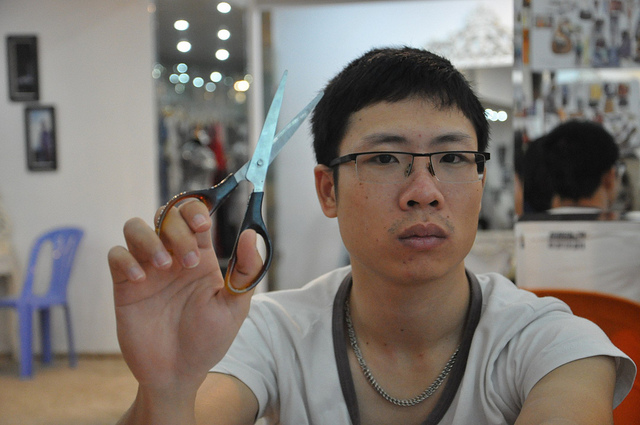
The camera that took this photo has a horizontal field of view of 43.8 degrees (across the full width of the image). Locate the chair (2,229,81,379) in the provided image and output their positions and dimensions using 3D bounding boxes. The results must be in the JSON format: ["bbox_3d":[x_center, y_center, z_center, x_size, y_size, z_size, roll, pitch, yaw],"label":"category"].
[{"bbox_3d":[-1.168,0.370,3.372,0.269,0.604,0.739,-5,5,-12],"label":"chair"}]

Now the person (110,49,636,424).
[{"bbox_3d":[0.161,0.073,2.518,0.958,1.122,1.295,-2,-14,9],"label":"person"}]
